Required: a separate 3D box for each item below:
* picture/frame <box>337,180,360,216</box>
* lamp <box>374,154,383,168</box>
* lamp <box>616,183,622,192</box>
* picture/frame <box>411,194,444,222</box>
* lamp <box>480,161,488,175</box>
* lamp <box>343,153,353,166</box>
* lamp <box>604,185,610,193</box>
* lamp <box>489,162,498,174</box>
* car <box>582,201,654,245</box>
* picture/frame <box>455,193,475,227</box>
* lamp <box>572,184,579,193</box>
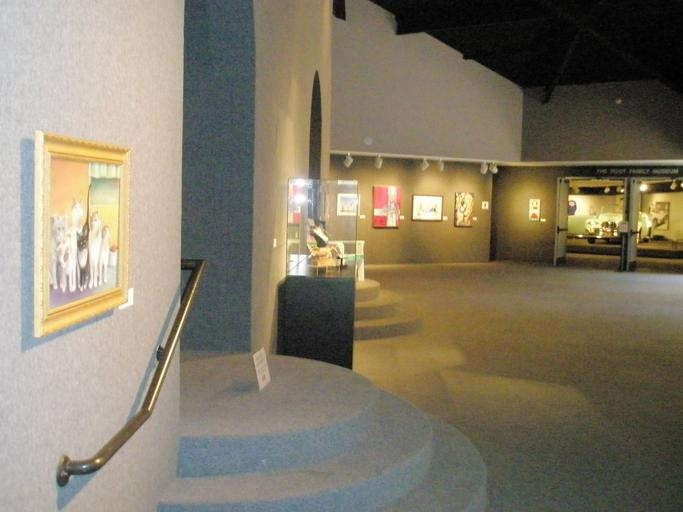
[{"bbox_3d":[0.065,-0.666,5.910,0.255,0.422,0.199,1,6,-2],"label":"picture/frame"},{"bbox_3d":[1.126,-2.783,14.671,0.275,0.523,0.275,1,0,-41],"label":"lamp"},{"bbox_3d":[12.833,-3.123,23.166,0.085,0.340,0.327,13,-3,-36],"label":"lamp"},{"bbox_3d":[2.647,-1.505,15.750,0.813,0.648,0.056,-3,6,-24],"label":"picture/frame"},{"bbox_3d":[4.651,-2.836,16.266,0.283,0.384,1.048,3,7,15],"label":"lamp"},{"bbox_3d":[0.201,-2.734,14.354,0.287,0.377,0.803,1,7,2],"label":"lamp"},{"bbox_3d":[12.515,-3.100,23.603,0.222,0.340,0.453,4,7,26],"label":"lamp"},{"bbox_3d":[5.028,-2.883,16.532,0.272,0.353,1.639,3,7,16],"label":"lamp"},{"bbox_3d":[12.983,-1.880,23.738,2.558,1.856,4.167,-1,-1,25],"label":"car"},{"bbox_3d":[3.982,-1.519,16.328,1.039,1.577,0.061,-2,5,-33],"label":"picture/frame"},{"bbox_3d":[11.588,-3.314,24.773,0.356,0.382,0.087,-6,-13,25],"label":"lamp"}]
